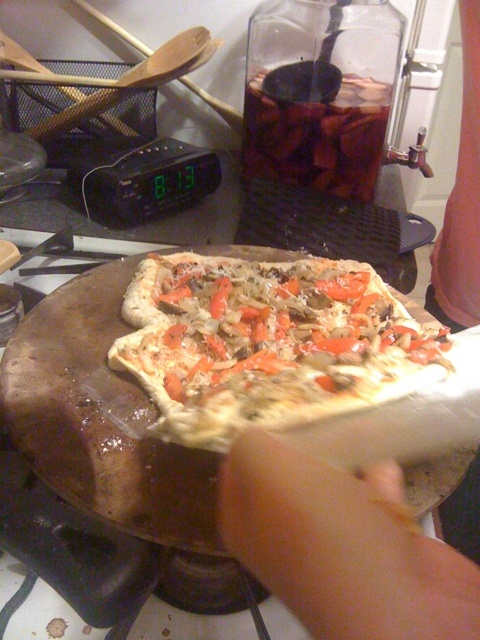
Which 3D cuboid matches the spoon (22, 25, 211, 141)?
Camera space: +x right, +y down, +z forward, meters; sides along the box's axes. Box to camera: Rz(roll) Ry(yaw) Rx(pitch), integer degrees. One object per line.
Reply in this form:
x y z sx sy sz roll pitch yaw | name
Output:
-0.351 -0.748 1.619 0.153 0.211 1.086 -51 32 -10 | spoon
